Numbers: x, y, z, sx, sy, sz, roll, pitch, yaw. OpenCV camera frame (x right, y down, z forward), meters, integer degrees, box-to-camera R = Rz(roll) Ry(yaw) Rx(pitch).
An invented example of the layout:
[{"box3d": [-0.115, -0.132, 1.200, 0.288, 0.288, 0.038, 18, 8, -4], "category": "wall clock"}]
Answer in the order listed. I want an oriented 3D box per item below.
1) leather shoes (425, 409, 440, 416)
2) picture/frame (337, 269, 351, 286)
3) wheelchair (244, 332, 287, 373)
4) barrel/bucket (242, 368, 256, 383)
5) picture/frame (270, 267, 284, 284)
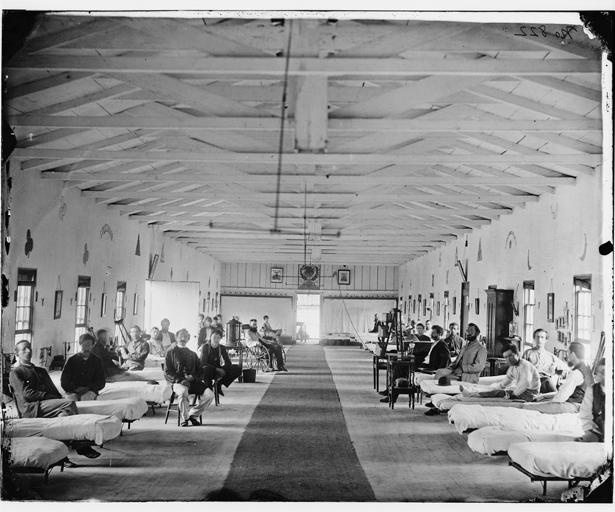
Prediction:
[{"box3d": [2.033, 2.565, 11.193, 0.247, 0.124, 0.097, 2, -8, 2], "category": "leather shoes"}, {"box3d": [1.601, 0.988, 30.980, 0.627, 0.855, 0.080, 1, -7, -2], "category": "picture/frame"}, {"box3d": [-1.091, 2.526, 17.963, 1.112, 1.230, 0.768, -1, -1, 2], "category": "wheelchair"}, {"box3d": [-1.301, 2.622, 15.002, 0.257, 0.241, 0.307, 0, -11, 2], "category": "barrel/bucket"}, {"box3d": [-1.400, 0.899, 31.053, 0.643, 0.911, 0.090, 0, -6, 1], "category": "picture/frame"}]
